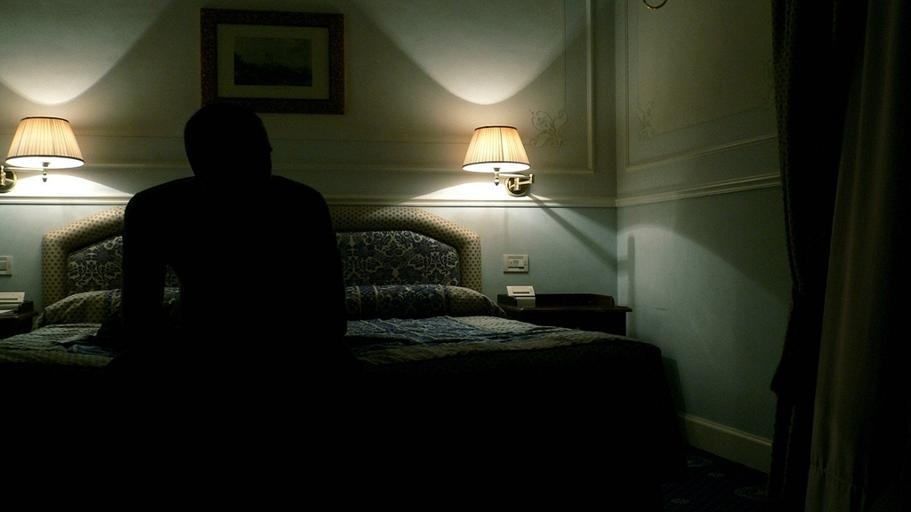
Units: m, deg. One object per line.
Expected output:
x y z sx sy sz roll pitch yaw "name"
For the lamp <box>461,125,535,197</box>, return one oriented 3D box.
0.373 -0.826 5.910 0.603 0.595 0.539 -1 3 6 "lamp"
